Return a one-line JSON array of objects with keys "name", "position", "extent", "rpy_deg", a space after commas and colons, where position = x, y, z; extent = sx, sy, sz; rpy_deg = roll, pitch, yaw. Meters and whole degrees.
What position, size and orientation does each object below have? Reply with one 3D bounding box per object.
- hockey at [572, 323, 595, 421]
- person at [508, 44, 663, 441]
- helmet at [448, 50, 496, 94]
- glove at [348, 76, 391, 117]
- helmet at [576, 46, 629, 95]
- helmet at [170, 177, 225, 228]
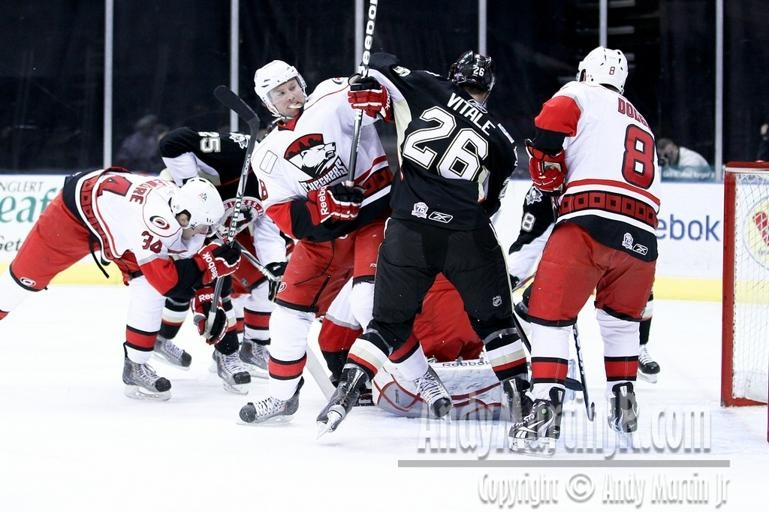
[{"name": "hockey", "position": [1.327, 0.786, 6.547], "extent": [0.088, 0.702, 0.077], "rpy_deg": [13, -39, -29]}, {"name": "person", "position": [1.199, -0.094, 5.759], "extent": [0.851, 2.197, 0.803], "rpy_deg": [-1, 12, -3]}, {"name": "helmet", "position": [0.533, -1.118, 5.966], "extent": [0.223, 0.237, 0.281], "rpy_deg": [20, 12, -2]}, {"name": "glove", "position": [-0.086, -0.941, 5.708], "extent": [0.204, 0.244, 0.107], "rpy_deg": [11, 32, 5]}, {"name": "helmet", "position": [1.329, -1.154, 6.033], "extent": [0.262, 0.301, 0.322], "rpy_deg": [13, 9, -12]}, {"name": "helmet", "position": [-1.188, -0.336, 6.348], "extent": [0.366, 0.256, 0.293], "rpy_deg": [8, -44, -19]}]
